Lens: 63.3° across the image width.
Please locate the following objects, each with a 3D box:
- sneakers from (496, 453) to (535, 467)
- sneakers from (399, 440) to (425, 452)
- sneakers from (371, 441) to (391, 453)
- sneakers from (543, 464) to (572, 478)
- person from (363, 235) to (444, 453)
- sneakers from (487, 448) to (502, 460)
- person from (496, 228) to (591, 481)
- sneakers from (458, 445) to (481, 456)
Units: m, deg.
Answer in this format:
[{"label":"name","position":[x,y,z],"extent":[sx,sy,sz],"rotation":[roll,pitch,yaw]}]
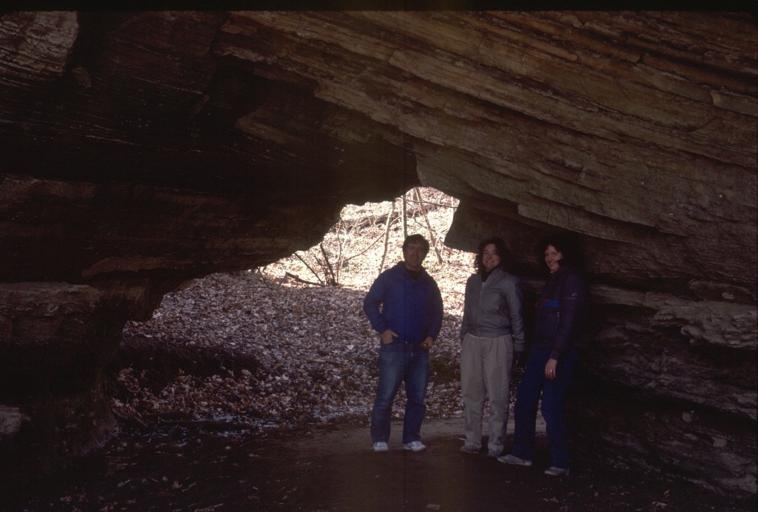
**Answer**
[{"label":"sneakers","position":[1.105,1.689,5.013],"extent":[0.301,0.111,0.103],"rotation":[10,-1,6]},{"label":"sneakers","position":[0.280,1.563,5.058],"extent":[0.164,0.063,0.087],"rotation":[-4,0,17]},{"label":"sneakers","position":[0.013,1.564,5.037],"extent":[0.074,0.056,0.133],"rotation":[2,5,-6]},{"label":"sneakers","position":[1.470,1.770,5.054],"extent":[0.169,0.055,0.091],"rotation":[0,-2,7]},{"label":"person","position":[0.177,0.722,5.074],"extent":[0.670,1.706,0.173],"rotation":[9,2,-6]},{"label":"sneakers","position":[0.956,1.641,5.082],"extent":[0.119,0.107,0.070],"rotation":[-2,-15,16]},{"label":"person","position":[1.448,0.825,5.105],"extent":[0.573,1.999,0.254],"rotation":[10,2,12]},{"label":"sneakers","position":[0.759,1.605,5.075],"extent":[0.138,0.050,0.074],"rotation":[10,1,-14]}]
